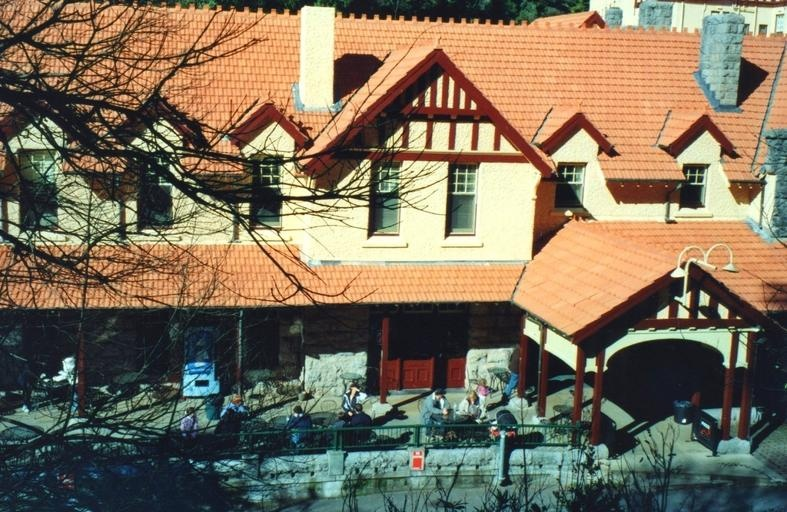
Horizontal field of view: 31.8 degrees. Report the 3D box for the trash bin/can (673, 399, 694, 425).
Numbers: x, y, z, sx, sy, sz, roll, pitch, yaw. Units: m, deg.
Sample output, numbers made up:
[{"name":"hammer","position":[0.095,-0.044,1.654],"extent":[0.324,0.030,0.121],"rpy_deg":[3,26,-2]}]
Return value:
[{"name":"trash bin/can","position":[9.839,5.274,46.907],"extent":[0.677,0.757,0.677],"rpy_deg":[-11,20,-31]}]
